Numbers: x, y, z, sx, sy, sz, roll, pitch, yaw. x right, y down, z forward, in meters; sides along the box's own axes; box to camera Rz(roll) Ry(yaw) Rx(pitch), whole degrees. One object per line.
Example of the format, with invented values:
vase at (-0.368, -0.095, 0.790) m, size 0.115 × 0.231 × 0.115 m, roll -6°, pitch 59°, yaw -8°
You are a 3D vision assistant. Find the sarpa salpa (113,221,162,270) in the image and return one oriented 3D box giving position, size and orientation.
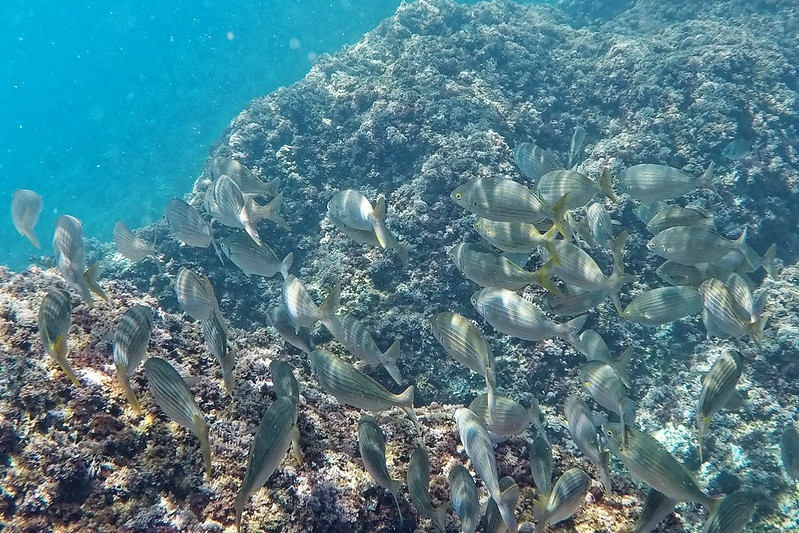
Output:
sarpa salpa at (-6.169, -0.585, 16.535) m, size 0.980 × 0.948 × 0.355 m, roll 0°, pitch 27°, yaw 2°

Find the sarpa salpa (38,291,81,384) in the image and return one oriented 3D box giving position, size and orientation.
sarpa salpa at (-6.878, 1.513, 14.413) m, size 0.338 × 1.700 × 0.869 m, roll -14°, pitch -21°, yaw 30°

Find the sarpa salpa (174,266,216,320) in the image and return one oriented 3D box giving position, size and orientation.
sarpa salpa at (-4.222, 0.622, 14.821) m, size 0.976 × 0.921 × 0.496 m, roll 16°, pitch 32°, yaw 29°
